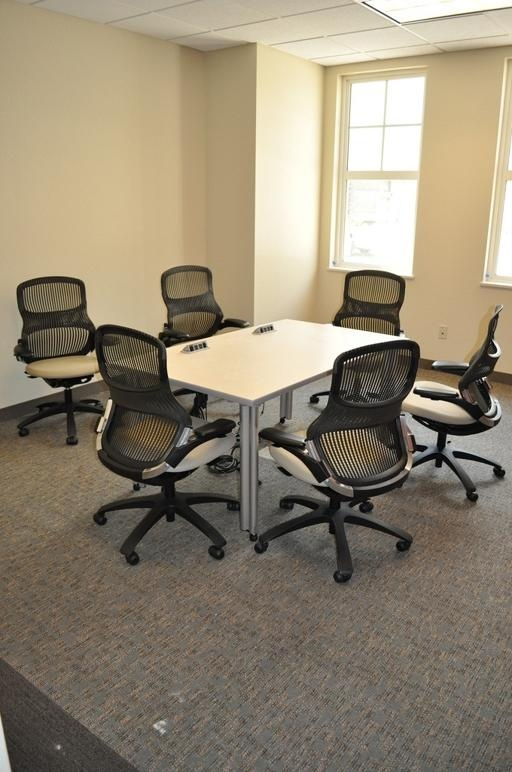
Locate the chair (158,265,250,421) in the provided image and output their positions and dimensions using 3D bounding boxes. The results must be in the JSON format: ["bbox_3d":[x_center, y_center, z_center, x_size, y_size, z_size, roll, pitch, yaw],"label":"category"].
[{"bbox_3d":[-0.377,-0.296,4.260,0.655,1.084,0.639,-15,32,-37],"label":"chair"}]

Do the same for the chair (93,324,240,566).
[{"bbox_3d":[-0.404,0.211,2.527,0.538,1.002,0.639,-12,19,-41],"label":"chair"}]

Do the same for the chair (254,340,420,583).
[{"bbox_3d":[0.334,0.226,2.520,0.676,0.956,0.638,-14,23,-35],"label":"chair"}]

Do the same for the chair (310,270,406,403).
[{"bbox_3d":[0.780,-0.320,4.255,0.651,0.937,0.594,4,28,3],"label":"chair"}]
